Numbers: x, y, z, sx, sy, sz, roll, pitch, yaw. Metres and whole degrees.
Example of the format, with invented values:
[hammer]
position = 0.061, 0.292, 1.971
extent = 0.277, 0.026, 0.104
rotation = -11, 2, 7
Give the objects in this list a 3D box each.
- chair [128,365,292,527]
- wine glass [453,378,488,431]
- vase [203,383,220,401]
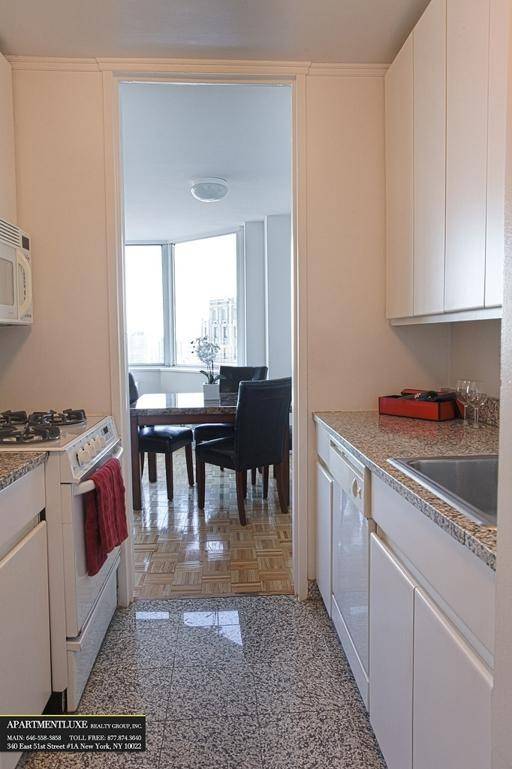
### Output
[chair]
position = -0.426, 0.264, 3.513
extent = 0.617, 0.664, 0.658
rotation = 0, 3, -3
[wine glass]
position = 0.722, 0.061, 1.894
extent = 0.089, 0.158, 0.319
rotation = 0, 4, 21
[vase]
position = -0.297, 0.045, 3.654
extent = 0.093, 0.105, 0.098
rotation = 0, -2, -4
